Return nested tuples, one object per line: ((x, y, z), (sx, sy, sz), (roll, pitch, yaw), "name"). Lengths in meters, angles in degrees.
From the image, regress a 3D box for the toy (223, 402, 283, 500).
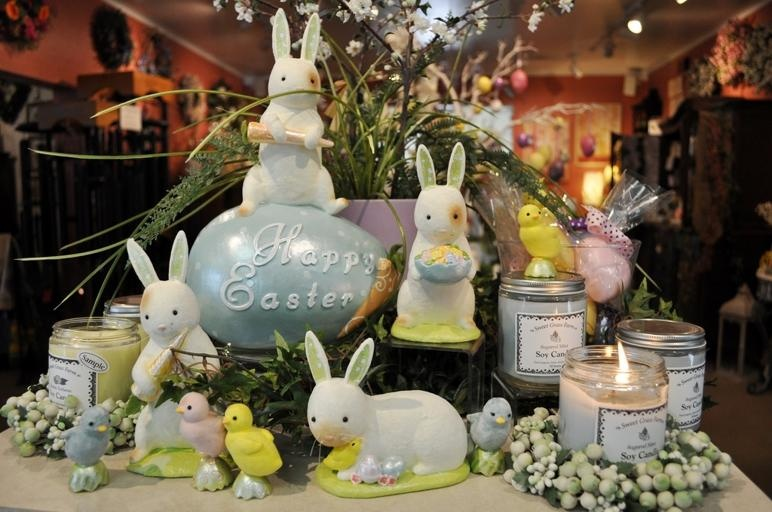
((-0.276, 0.395, 1.404), (0.117, 0.194, 0.087), (2, 3, -8), "toy")

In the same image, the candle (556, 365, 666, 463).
((0.486, 0.321, 1.467), (0.180, 0.165, 0.177), (2, 2, 18), "candle")

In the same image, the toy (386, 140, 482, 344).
((0.125, -0.031, 1.551), (0.194, 0.447, 0.162), (3, 3, 17), "toy")

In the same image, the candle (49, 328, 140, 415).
((-0.647, 0.237, 1.505), (0.183, 0.172, 0.172), (2, 1, 32), "candle")

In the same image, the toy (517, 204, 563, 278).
((0.365, -0.035, 1.601), (0.089, 0.165, 0.128), (4, 3, 27), "toy")

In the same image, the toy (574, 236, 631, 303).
((0.511, 0.031, 1.679), (0.142, 0.158, 0.139), (-4, 10, 21), "toy")

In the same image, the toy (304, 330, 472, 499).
((-0.035, 0.335, 1.478), (0.390, 0.318, 0.258), (2, -3, -16), "toy")
